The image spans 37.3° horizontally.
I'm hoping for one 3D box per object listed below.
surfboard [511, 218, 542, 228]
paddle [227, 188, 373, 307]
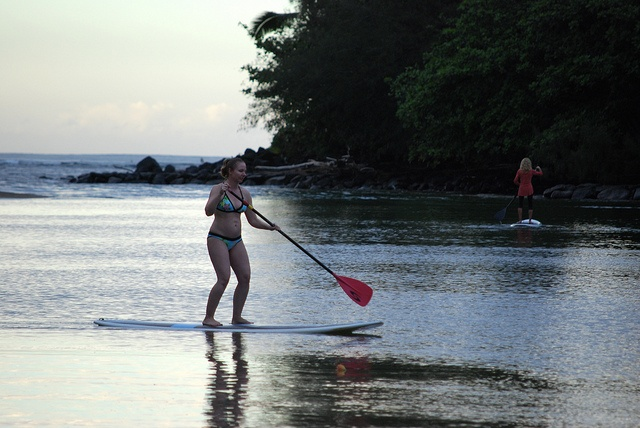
[{"bbox_3d":[6.431,0.295,29.579,1.024,0.236,0.870,5,11,20],"label":"surfboard"},{"bbox_3d":[-0.424,0.814,22.858,4.273,0.702,0.148,32,0,-19],"label":"paddle"}]
